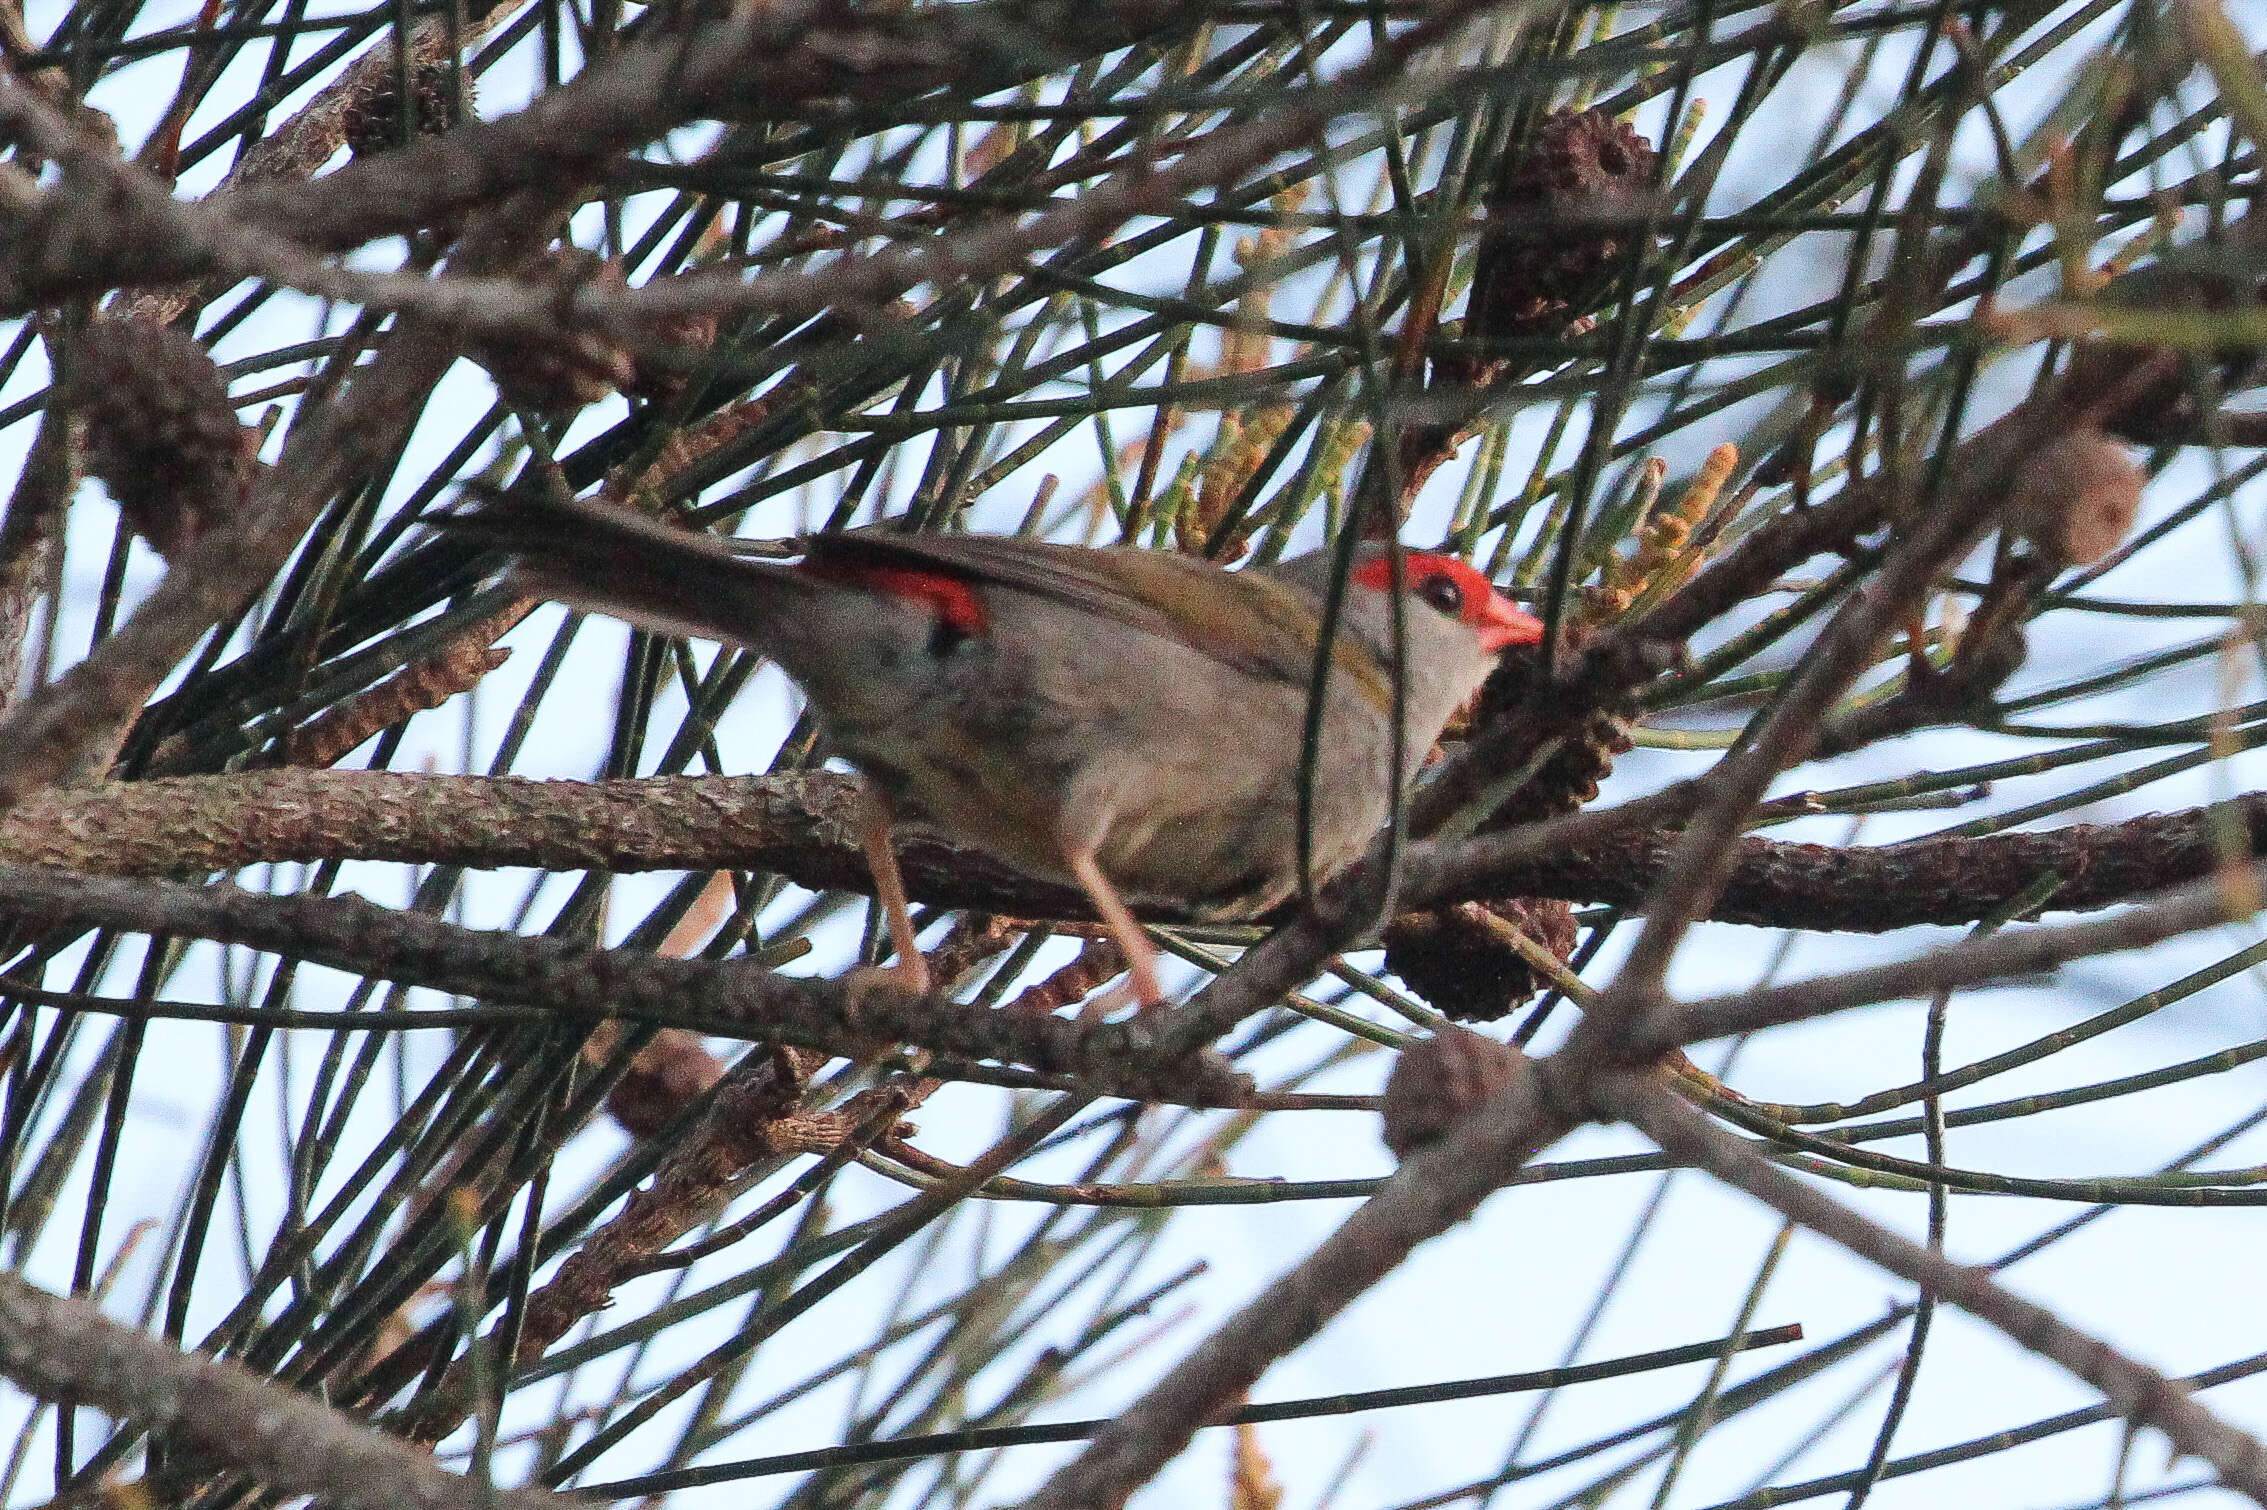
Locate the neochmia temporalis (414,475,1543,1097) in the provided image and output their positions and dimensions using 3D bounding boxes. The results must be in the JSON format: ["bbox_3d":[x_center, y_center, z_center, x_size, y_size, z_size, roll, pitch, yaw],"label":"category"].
[{"bbox_3d":[-0.164,-0.075,5.781,1.909,0.911,0.530,14,-24,-28],"label":"neochmia temporalis"}]

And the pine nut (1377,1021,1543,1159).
[{"bbox_3d":[0.384,0.407,4.604,0.192,0.163,0.093,-34,-80,3],"label":"pine nut"}]
